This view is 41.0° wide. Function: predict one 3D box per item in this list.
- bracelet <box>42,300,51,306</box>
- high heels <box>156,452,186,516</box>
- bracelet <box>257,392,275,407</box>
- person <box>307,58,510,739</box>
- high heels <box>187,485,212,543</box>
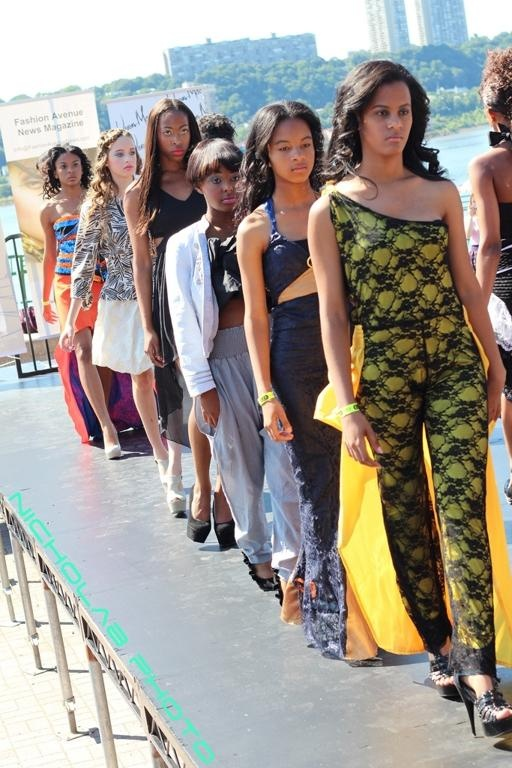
[{"bbox_3d":[-1.718,-0.663,5.619,0.081,0.048,0.074,-1,8,-4],"label":"bracelet"},{"bbox_3d":[-0.420,0.497,3.339,0.108,0.307,0.133,-10,-12,-12],"label":"high heels"},{"bbox_3d":[0.021,0.042,1.834,0.054,0.030,0.047,-19,1,-17],"label":"bracelet"},{"bbox_3d":[0.318,0.019,1.371,0.295,1.193,0.437,-12,3,28],"label":"person"},{"bbox_3d":[-0.253,0.544,2.921,0.088,0.246,0.099,-2,-35,-8],"label":"high heels"}]
